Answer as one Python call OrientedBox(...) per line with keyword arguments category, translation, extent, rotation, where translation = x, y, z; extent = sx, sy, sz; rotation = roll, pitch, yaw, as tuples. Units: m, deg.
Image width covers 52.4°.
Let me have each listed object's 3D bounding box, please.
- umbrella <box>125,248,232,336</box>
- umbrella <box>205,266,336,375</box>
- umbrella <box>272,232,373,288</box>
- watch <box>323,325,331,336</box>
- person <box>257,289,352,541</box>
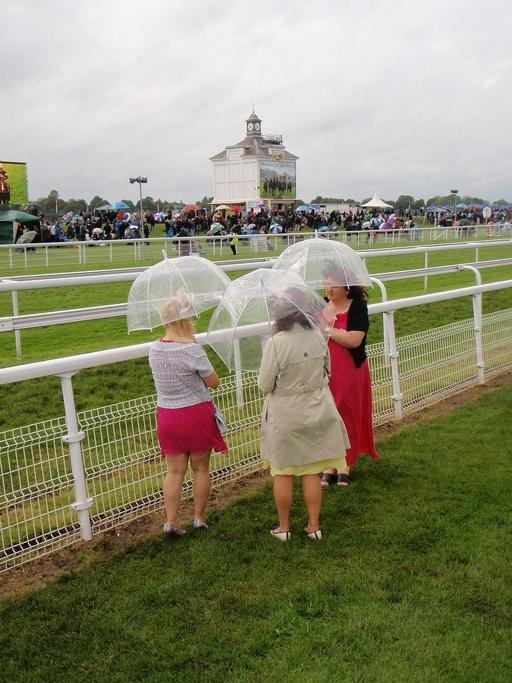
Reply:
OrientedBox(category="umbrella", translation=(-0.399, -0.250, 2.673), extent=(0.524, 0.401, 0.445), rotation=(-2, 3, -6))
OrientedBox(category="umbrella", translation=(0.015, -0.153, 2.665), extent=(0.241, 0.515, 0.501), rotation=(-15, -23, -13))
OrientedBox(category="umbrella", translation=(0.433, -0.454, 3.344), extent=(0.449, 0.200, 0.445), rotation=(2, 23, -1))
OrientedBox(category="watch", translation=(0.354, -0.034, 2.641), extent=(0.014, 0.048, 0.055), rotation=(4, 5, 26))
OrientedBox(category="person", translation=(0.235, 0.412, 2.630), extent=(0.454, 1.314, 0.311), rotation=(-2, 3, -6))
